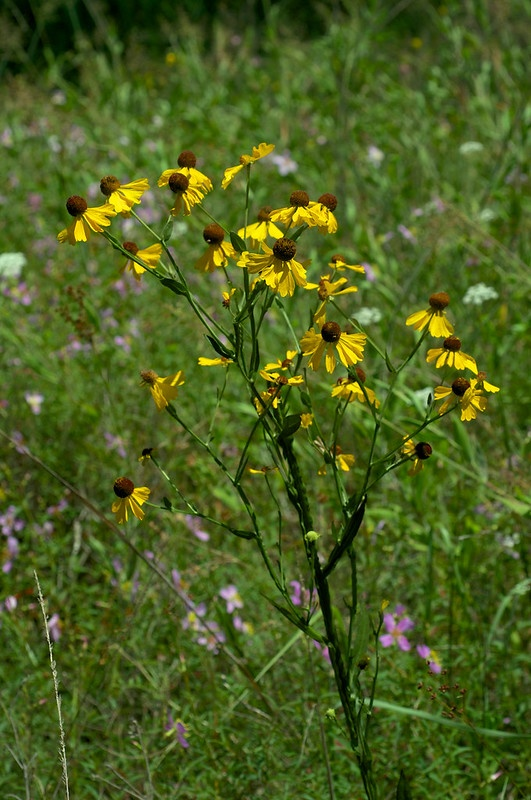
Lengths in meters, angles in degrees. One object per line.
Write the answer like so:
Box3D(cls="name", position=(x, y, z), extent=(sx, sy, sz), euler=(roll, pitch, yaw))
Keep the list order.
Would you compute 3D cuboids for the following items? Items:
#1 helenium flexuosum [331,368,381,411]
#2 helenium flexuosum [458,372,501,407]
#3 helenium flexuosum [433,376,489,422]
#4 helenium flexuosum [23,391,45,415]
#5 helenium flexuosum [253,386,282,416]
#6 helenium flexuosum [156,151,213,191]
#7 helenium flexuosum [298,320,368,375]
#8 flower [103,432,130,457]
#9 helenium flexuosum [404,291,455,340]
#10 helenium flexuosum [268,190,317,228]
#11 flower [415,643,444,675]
Box3D(cls="helenium flexuosum", position=(0.163, -0.017, 1.310), extent=(0.085, 0.046, 0.081), euler=(7, -6, -1))
Box3D(cls="helenium flexuosum", position=(0.478, -0.024, 1.690), extent=(0.135, 0.045, 0.127), euler=(1, 16, -1))
Box3D(cls="helenium flexuosum", position=(0.333, -0.010, 1.326), extent=(0.101, 0.095, 0.045), euler=(11, 60, -5))
Box3D(cls="helenium flexuosum", position=(-0.615, 0.008, 2.025), extent=(0.044, 0.051, 0.018), euler=(-9, 24, -12))
Box3D(cls="helenium flexuosum", position=(0.004, 0.005, 1.265), extent=(0.048, 0.023, 0.048), euler=(-33, 31, 17))
Box3D(cls="helenium flexuosum", position=(-0.148, -0.389, 1.296), extent=(0.098, 0.055, 0.094), euler=(5, 6, 16))
Box3D(cls="helenium flexuosum", position=(0.112, -0.090, 1.292), extent=(0.103, 0.093, 0.039), euler=(1, -15, 0))
Box3D(cls="flower", position=(-0.531, 0.146, 2.696), extent=(0.092, 0.025, 0.084), euler=(1, 52, 0))
Box3D(cls="helenium flexuosum", position=(0.294, -0.147, 1.332), extent=(0.093, 0.056, 0.093), euler=(15, 21, 37))
Box3D(cls="helenium flexuosum", position=(0.051, -0.309, 1.245), extent=(0.082, 0.037, 0.083), euler=(10, 22, 40))
Box3D(cls="flower", position=(0.425, 0.674, 1.979), extent=(0.051, 0.091, 0.104), euler=(4, 19, 27))
